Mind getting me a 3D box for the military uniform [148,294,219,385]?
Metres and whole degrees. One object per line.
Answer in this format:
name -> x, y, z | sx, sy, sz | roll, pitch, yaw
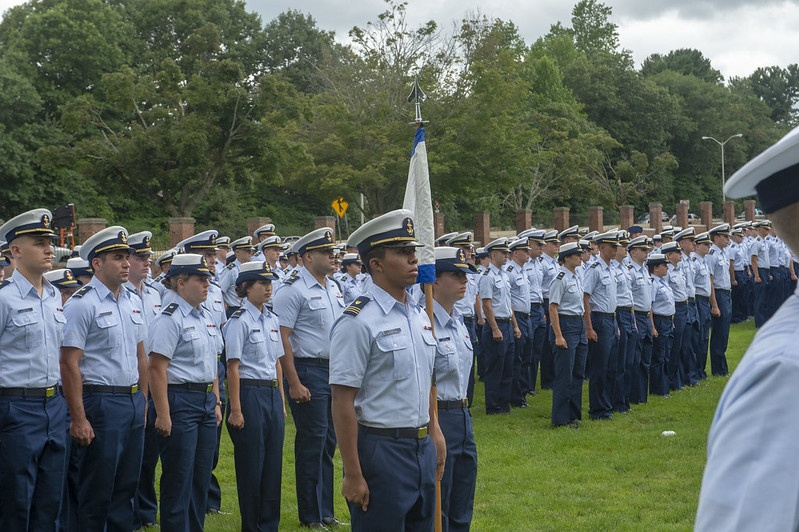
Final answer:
military uniform -> -5.660, 1.879, 32.751 | 1.557, 2.225, 2.654 | 4, 4, 23
